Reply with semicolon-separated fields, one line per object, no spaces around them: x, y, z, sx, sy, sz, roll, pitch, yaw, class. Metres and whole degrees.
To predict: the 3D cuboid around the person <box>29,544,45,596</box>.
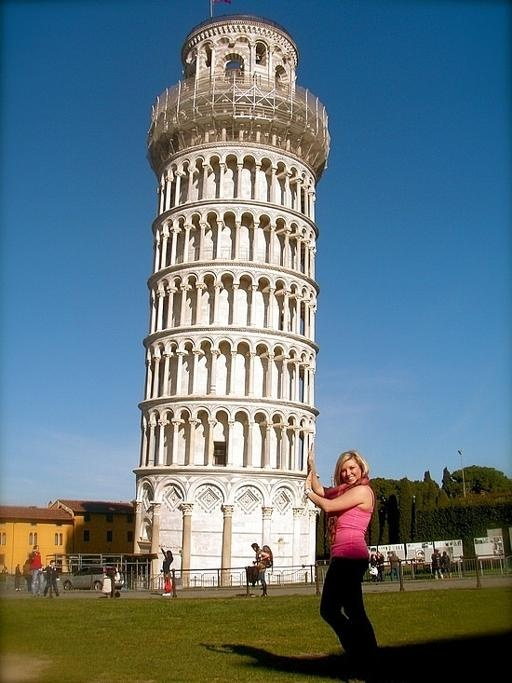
-6.331;6.621;20.401;0.399;1.345;0.519;-16;-22;17;person

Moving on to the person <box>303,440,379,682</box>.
0.708;1.864;5.991;0.611;1.934;1.289;-2;-16;8;person

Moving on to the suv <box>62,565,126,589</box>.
-8.252;11.358;33.939;2.288;1.085;0.905;-9;-19;30;suv
